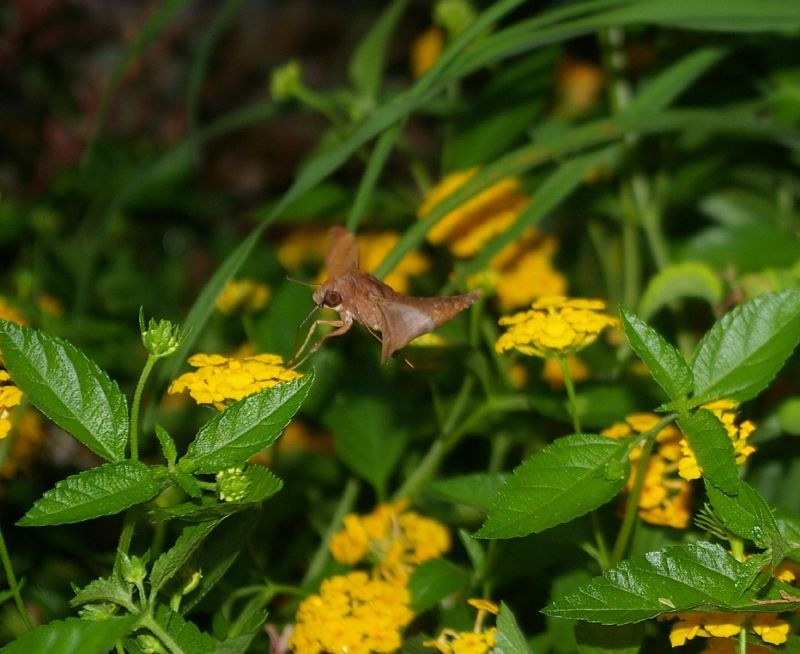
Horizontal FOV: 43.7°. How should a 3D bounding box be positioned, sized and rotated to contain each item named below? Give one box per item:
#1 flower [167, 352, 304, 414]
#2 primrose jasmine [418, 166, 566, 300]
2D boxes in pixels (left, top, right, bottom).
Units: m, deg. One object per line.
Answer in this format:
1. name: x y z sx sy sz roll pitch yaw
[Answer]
1. flower: -0.165 0.053 1.047 0.130 0.041 0.121 -17 27 -27
2. primrose jasmine: 0.132 -0.127 1.398 0.121 0.212 0.153 -17 26 -38
